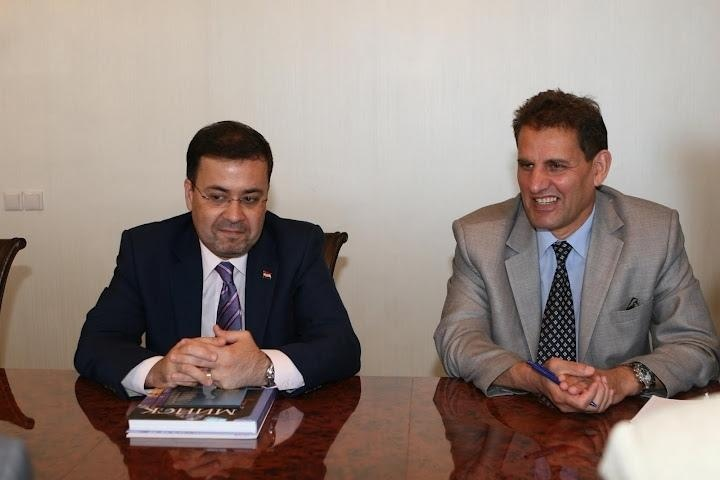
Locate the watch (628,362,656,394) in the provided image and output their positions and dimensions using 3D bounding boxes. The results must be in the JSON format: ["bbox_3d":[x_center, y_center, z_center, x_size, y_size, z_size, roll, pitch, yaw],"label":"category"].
[{"bbox_3d":[0.984,0.478,1.877,0.084,0.023,0.081,3,49,-51],"label":"watch"}]

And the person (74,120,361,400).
[{"bbox_3d":[-0.556,0.020,2.105,1.116,0.934,0.884,1,14,-1],"label":"person"}]

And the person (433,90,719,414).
[{"bbox_3d":[0.872,-0.019,2.136,1.083,1.133,0.989,0,14,-5],"label":"person"}]

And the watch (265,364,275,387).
[{"bbox_3d":[-0.304,0.477,1.865,0.020,0.055,0.040,5,1,-10],"label":"watch"}]

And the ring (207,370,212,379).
[{"bbox_3d":[-0.506,0.450,1.808,0.016,0.026,0.024,1,39,-2],"label":"ring"}]
